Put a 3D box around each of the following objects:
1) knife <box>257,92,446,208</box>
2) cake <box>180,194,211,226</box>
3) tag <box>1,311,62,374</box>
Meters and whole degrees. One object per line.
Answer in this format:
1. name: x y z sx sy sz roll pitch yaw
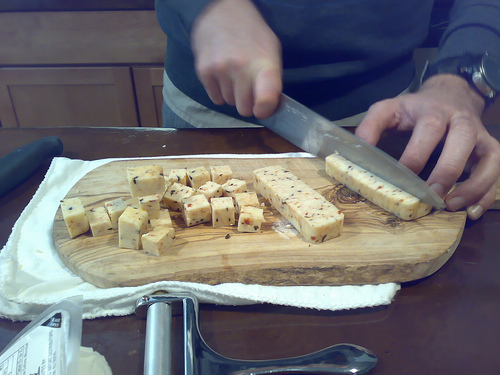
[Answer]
1. knife: 0.596 -0.201 2.286 1.236 0.286 0.093 32 62 24
2. cake: -0.280 0.117 2.078 0.158 0.107 0.147 -15 34 -19
3. tag: -0.823 0.605 1.457 0.213 0.074 0.239 -10 32 -15
